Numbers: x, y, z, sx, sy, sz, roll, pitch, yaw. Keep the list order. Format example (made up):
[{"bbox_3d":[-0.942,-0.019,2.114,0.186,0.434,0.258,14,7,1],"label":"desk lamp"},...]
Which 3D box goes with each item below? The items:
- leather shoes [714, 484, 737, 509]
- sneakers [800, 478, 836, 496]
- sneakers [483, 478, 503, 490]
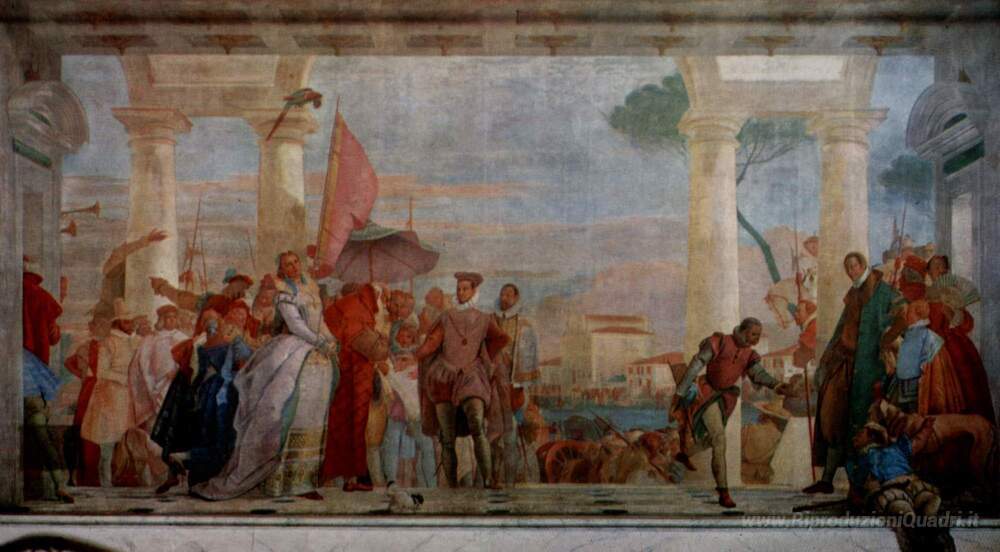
[{"bbox_3d":[3.614,3.520,36.077,0.298,0.381,0.121,1,-10,-14],"label":"leather shoes"},{"bbox_3d":[5.132,3.375,36.225,0.624,0.214,0.200,1,-9,3],"label":"sneakers"},{"bbox_3d":[-0.123,3.308,36.086,0.272,0.083,0.172,18,-21,-40],"label":"sneakers"}]
